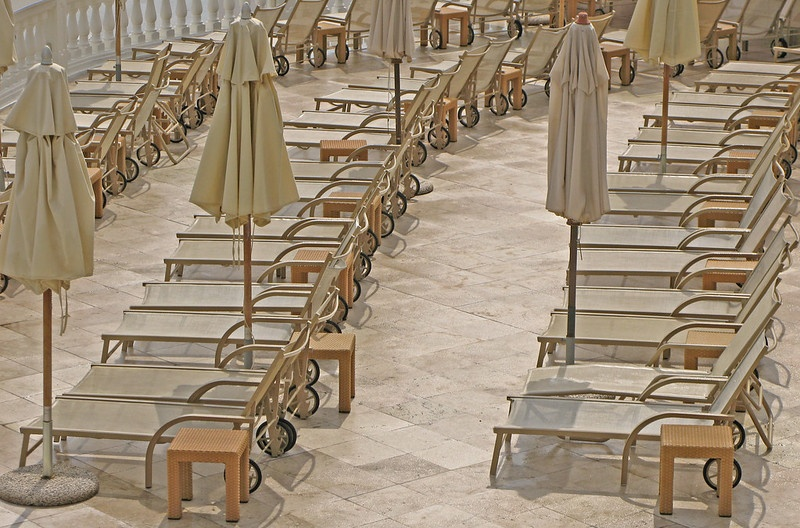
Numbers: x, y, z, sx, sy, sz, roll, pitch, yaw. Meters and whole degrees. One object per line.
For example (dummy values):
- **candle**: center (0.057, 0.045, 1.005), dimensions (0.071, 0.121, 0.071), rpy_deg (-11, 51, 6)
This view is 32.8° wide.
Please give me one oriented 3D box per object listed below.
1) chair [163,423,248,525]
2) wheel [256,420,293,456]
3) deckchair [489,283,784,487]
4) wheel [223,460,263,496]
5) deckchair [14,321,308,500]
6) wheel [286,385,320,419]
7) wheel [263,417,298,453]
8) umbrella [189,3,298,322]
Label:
- **chair**: center (-1.663, 1.838, 11.924), dimensions (0.694, 0.712, 0.585), rpy_deg (1, 18, -5)
- **wheel**: center (-1.165, 1.623, 12.723), dimensions (0.377, 0.278, 0.219), rpy_deg (-2, 1, 2)
- **deckchair**: center (2.185, 1.116, 12.627), dimensions (2.280, 1.653, 1.571), rpy_deg (6, 18, 12)
- **wheel**: center (-1.359, 1.922, 12.200), dimensions (0.400, 0.095, 0.335), rpy_deg (4, 15, 8)
- **deckchair**: center (-2.089, 1.316, 12.510), dimensions (2.290, 0.734, 1.675), rpy_deg (3, 23, 1)
- **wheel**: center (-0.907, 1.342, 13.194), dimensions (0.433, 0.305, 0.355), rpy_deg (-1, 13, -1)
- **wheel**: center (-1.118, 1.608, 12.641), dimensions (0.409, 0.301, 0.139), rpy_deg (11, 18, 16)
- **umbrella**: center (-1.460, -0.939, 12.908), dimensions (0.823, 2.991, 0.682), rpy_deg (8, 20, 13)
